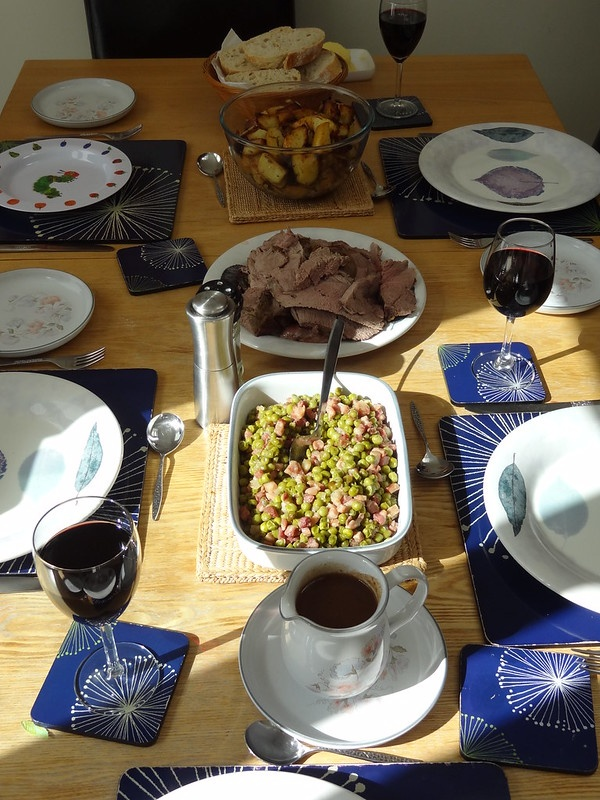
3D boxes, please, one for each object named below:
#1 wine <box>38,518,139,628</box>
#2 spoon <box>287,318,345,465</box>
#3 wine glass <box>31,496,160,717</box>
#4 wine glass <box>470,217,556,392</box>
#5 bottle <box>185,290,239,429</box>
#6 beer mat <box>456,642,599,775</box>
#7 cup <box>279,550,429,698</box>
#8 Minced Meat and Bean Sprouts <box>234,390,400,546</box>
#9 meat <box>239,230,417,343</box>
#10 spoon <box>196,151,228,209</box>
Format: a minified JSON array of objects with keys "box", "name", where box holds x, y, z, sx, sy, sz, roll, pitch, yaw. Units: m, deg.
[{"box":[-0.187,0.170,0.595,0.084,0.086,0.093,-14,13,-27],"name":"wine"},{"box":[0.032,-0.016,0.875,0.050,0.032,0.229,11,79,14],"name":"spoon"},{"box":[-0.204,0.211,0.639,0.088,0.186,0.083,9,53,8],"name":"wine glass"},{"box":[0.325,-0.140,0.986,0.101,0.235,0.096,-10,40,-7],"name":"wine glass"},{"box":[-0.117,-0.052,0.889,0.080,0.203,0.078,4,47,-4],"name":"bottle"},{"box":[0.219,0.292,0.626,0.130,0.047,0.114,7,56,4],"name":"beer mat"},{"box":[0.061,0.204,0.604,0.153,0.107,0.096,-12,33,-11],"name":"cup"},{"box":[0.011,0.093,0.809,0.205,0.068,0.240,-3,51,-5],"name":"Minced Meat and Bean Sprouts"},{"box":[0.043,-0.159,1.075,0.255,0.079,0.198,4,51,-14],"name":"meat"},{"box":[-0.201,-0.506,1.502,0.052,0.025,0.208,-4,49,-18],"name":"spoon"}]
